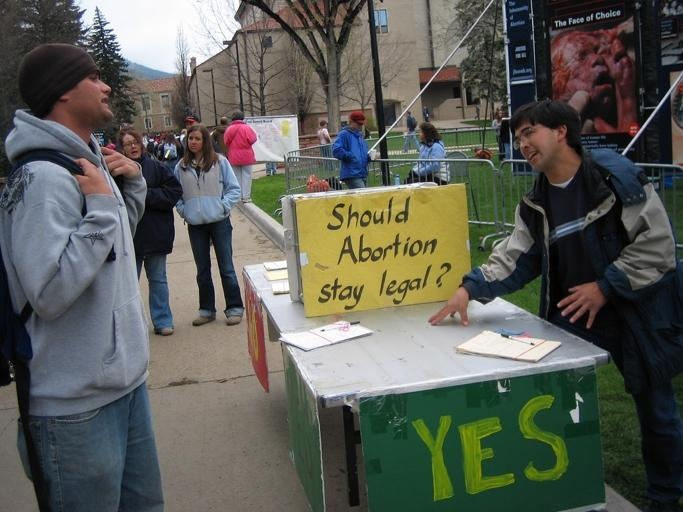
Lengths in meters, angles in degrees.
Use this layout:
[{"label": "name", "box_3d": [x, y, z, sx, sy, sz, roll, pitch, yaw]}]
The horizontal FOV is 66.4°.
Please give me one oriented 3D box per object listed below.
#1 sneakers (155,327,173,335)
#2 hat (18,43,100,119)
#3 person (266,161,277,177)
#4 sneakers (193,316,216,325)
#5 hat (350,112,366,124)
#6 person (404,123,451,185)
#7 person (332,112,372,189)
[{"label": "sneakers", "box_3d": [-2.367, 0.982, 6.835, 0.091, 0.113, 0.230, 0, -8, -43]}, {"label": "hat", "box_3d": [-1.267, -0.756, 2.353, 0.302, 0.264, 0.283, -23, 8, -25]}, {"label": "person", "box_3d": [-3.115, -3.812, 22.689, 0.522, 0.807, 0.437, 16, 28, 36]}, {"label": "sneakers", "box_3d": [-1.918, 0.878, 7.182, 0.111, 0.152, 0.335, 1, 1, 44]}, {"label": "hat", "box_3d": [0.321, -2.920, 10.932, 0.248, 0.154, 0.209, 6, 27, 11]}, {"label": "person", "box_3d": [1.725, -1.844, 10.462, 0.815, 1.594, 0.689, -2, 7, 0]}, {"label": "person", "box_3d": [0.235, -2.263, 11.097, 0.934, 1.607, 0.576, -11, 15, -39]}]
